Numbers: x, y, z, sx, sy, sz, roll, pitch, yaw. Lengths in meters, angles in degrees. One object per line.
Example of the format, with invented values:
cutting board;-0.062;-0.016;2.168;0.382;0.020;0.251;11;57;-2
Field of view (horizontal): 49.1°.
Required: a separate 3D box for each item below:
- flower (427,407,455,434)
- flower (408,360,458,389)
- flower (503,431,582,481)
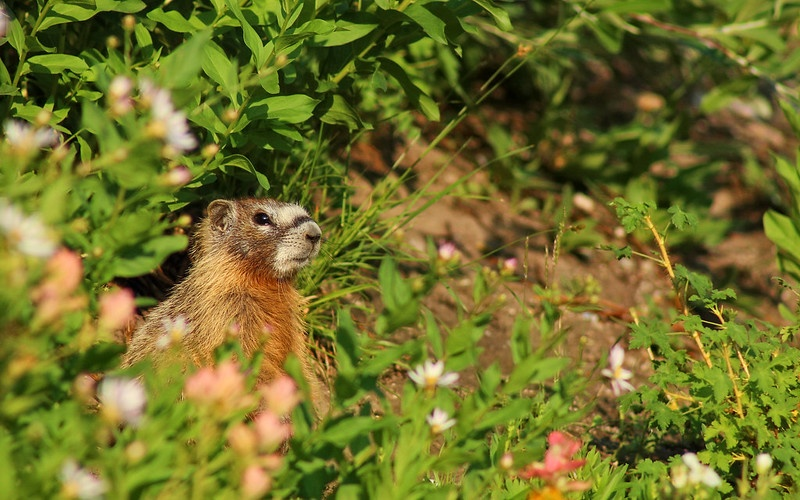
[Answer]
flower;0.211;0.897;4.596;0.129;0.064;0.141;-23;86;-29
flower;0.182;0.651;4.658;0.173;0.067;0.194;-11;51;-9
flower;0.751;1.098;4.669;0.129;0.269;0.294;50;42;-31
